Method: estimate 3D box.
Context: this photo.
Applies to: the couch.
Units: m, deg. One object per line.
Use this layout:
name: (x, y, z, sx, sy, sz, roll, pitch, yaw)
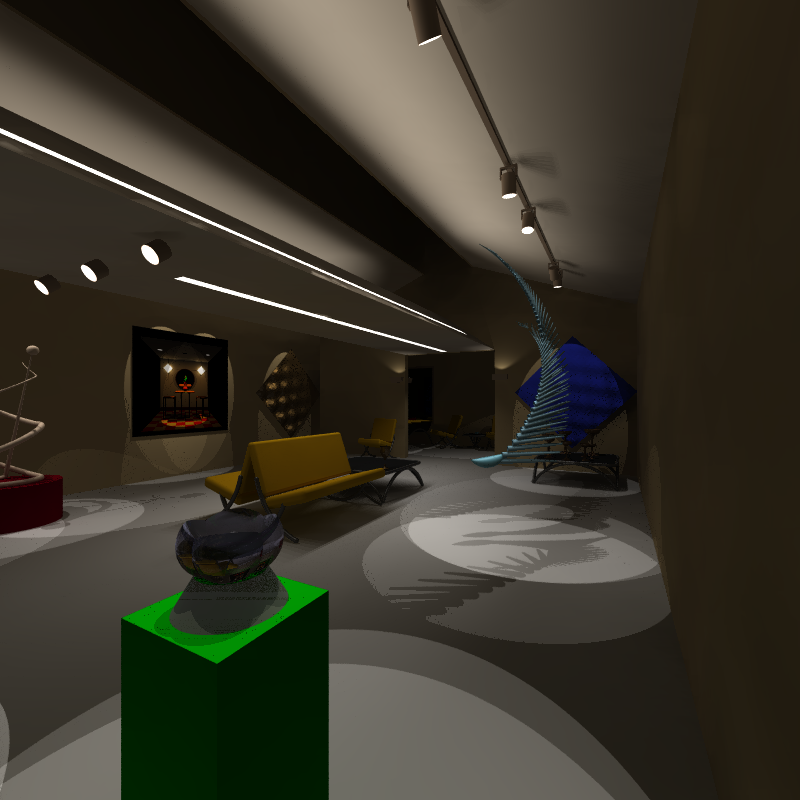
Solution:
couch: (-0.761, 0.596, 4.376, 0.539, 0.611, 1.291, 2, 4, 24)
